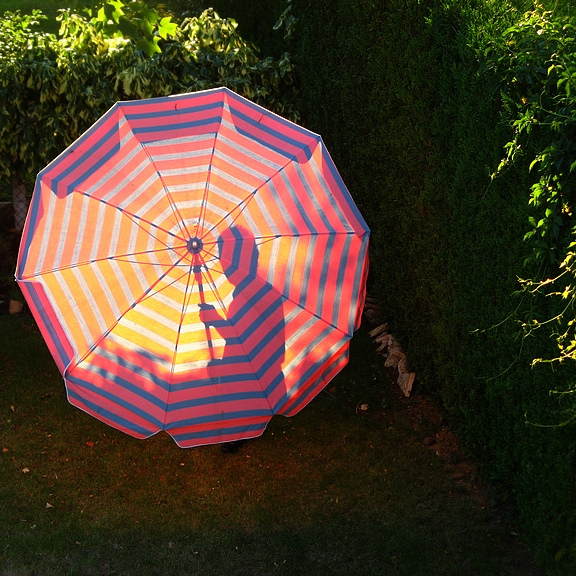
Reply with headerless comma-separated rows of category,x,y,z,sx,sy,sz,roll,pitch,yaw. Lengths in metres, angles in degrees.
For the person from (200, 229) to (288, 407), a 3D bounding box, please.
person,-0.305,0.355,5.950,0.854,1.110,1.119,22,-11,-1
